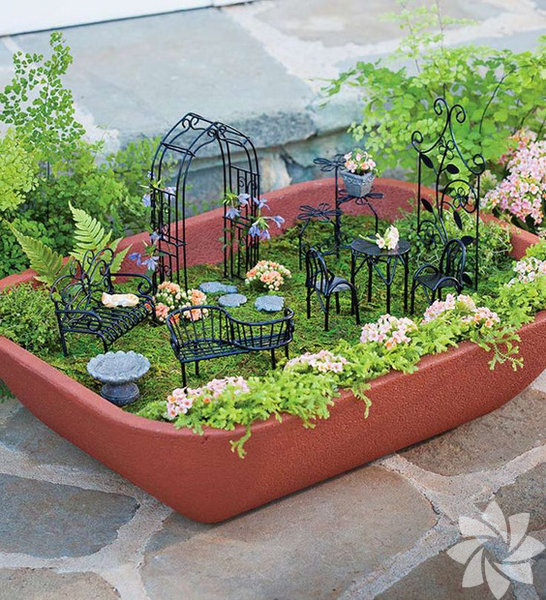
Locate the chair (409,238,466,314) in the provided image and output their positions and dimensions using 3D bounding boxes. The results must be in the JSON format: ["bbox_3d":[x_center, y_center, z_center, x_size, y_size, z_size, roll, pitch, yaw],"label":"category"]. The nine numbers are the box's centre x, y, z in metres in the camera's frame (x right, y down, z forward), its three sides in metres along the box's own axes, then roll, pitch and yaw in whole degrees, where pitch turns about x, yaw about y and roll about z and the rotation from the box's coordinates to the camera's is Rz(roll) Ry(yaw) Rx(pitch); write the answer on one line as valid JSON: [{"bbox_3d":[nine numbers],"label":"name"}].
[{"bbox_3d":[1.017,-0.128,4.408,0.371,0.423,0.298,6,-14,-9],"label":"chair"}]

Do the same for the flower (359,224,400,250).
[{"bbox_3d":[0.644,-0.383,4.349,0.241,0.138,0.236,-2,15,6],"label":"flower"}]

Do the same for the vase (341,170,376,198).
[{"bbox_3d":[0.572,-0.839,5.216,0.257,0.200,0.247,-9,30,-12],"label":"vase"}]

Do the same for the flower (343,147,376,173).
[{"bbox_3d":[0.617,-0.993,5.157,0.222,0.175,0.211,-3,16,5],"label":"flower"}]

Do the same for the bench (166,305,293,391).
[{"bbox_3d":[-0.193,0.232,3.715,0.671,0.303,0.249,-8,25,-14],"label":"bench"}]

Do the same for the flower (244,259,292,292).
[{"bbox_3d":[-0.036,-0.150,4.865,0.274,0.135,0.241,-20,44,-23],"label":"flower"}]

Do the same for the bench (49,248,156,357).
[{"bbox_3d":[-0.994,0.026,4.144,0.333,0.419,0.597,11,32,17],"label":"bench"}]

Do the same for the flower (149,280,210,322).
[{"bbox_3d":[-0.599,0.001,4.390,0.356,0.158,0.312,8,9,18],"label":"flower"}]
